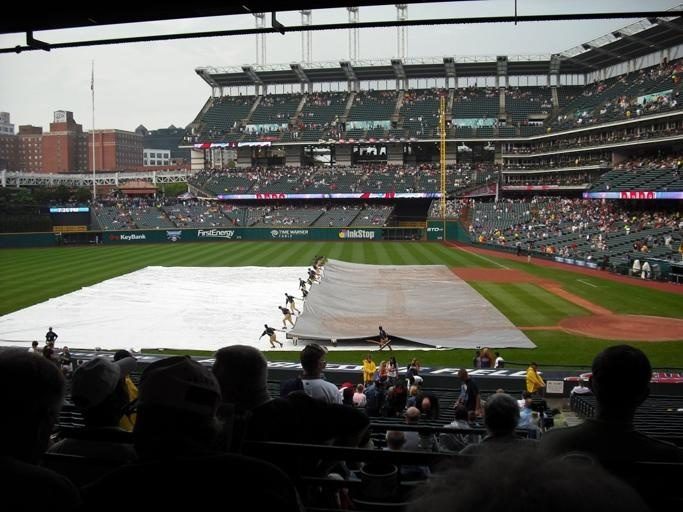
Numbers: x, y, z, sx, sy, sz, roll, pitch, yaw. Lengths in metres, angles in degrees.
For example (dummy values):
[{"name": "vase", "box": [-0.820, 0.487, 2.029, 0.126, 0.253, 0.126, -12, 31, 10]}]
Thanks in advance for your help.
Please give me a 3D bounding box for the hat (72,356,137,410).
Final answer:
[{"name": "hat", "box": [-1.583, 0.835, 4.847, 0.414, 0.336, 0.299, 1, 3, -26]}]
